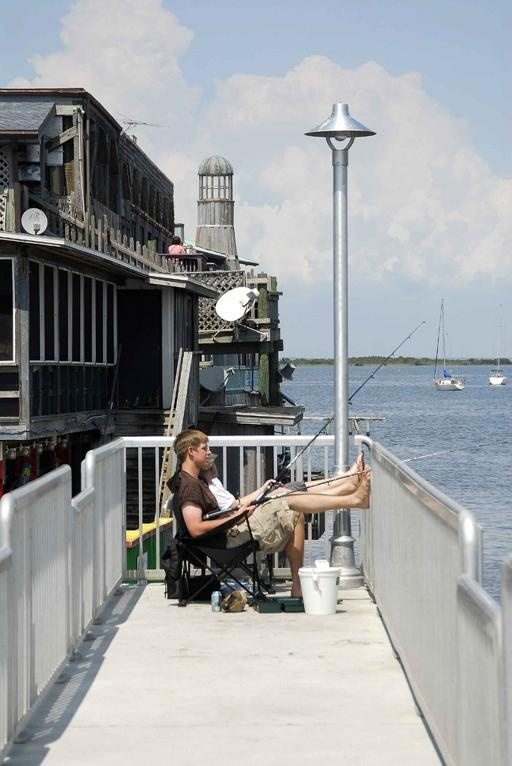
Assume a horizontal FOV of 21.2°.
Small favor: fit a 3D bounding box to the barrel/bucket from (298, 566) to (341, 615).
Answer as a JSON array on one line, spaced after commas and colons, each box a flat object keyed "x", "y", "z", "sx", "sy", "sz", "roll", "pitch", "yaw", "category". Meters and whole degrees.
[{"x": 0.322, "y": 1.058, "z": 6.946, "sx": 0.202, "sy": 0.240, "sz": 0.191, "roll": -1, "pitch": 2, "yaw": 0, "category": "barrel/bucket"}]

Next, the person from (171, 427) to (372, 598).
[{"x": 0.008, "y": 0.644, "z": 7.266, "sx": 0.629, "sy": 1.123, "sz": 0.781, "roll": 5, "pitch": 2, "yaw": 6, "category": "person"}]

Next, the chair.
[{"x": -0.218, "y": 0.875, "z": 7.197, "sx": 0.470, "sy": 0.601, "sz": 0.627, "roll": -1, "pitch": 2, "yaw": -4, "category": "chair"}]

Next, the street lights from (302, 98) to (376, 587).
[{"x": 0.472, "y": -0.406, "z": 7.756, "sx": 0.223, "sy": 3.148, "sz": 0.347, "roll": 3, "pitch": 4, "yaw": 7, "category": "street lights"}]

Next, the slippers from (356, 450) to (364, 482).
[{"x": 0.555, "y": 0.446, "z": 7.226, "sx": 0.034, "sy": 0.166, "sz": 0.032, "roll": 2, "pitch": -8, "yaw": -4, "category": "slippers"}]

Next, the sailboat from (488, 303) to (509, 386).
[{"x": 31.910, "y": -4.039, "z": 180.236, "sx": 2.017, "sy": 10.477, "sz": 105.576, "roll": 0, "pitch": 3, "yaw": 10, "category": "sailboat"}]
